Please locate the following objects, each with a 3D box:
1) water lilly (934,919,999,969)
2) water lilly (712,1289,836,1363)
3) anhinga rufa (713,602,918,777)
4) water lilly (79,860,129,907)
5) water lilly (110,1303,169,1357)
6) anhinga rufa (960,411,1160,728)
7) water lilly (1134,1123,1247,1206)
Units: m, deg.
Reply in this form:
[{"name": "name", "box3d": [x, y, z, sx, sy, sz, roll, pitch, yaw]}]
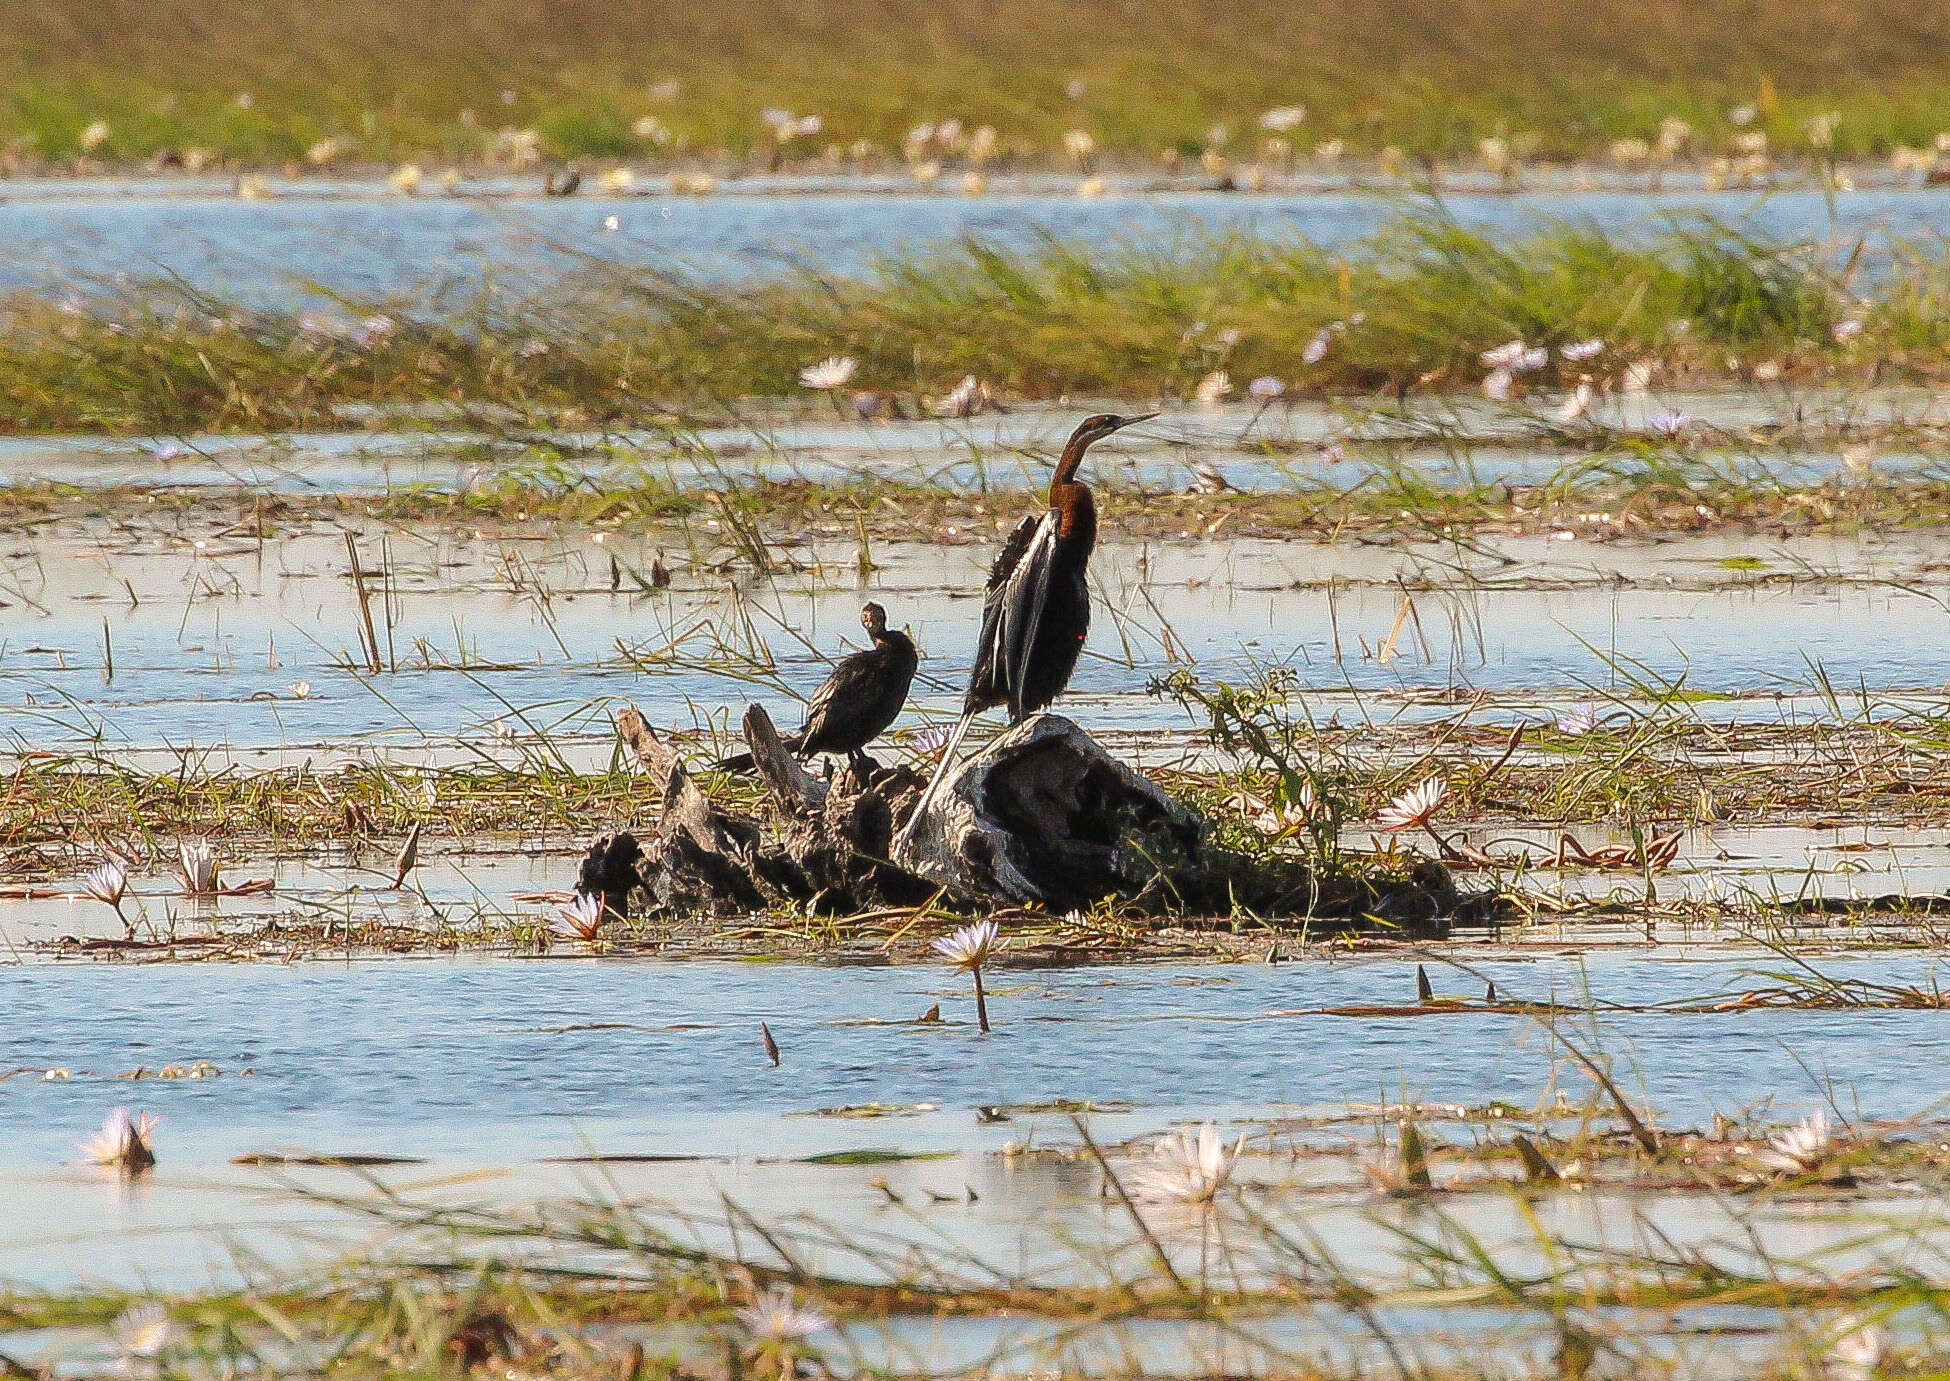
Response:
[{"name": "water lilly", "box3d": [0.000, 0.644, 9.645, 0.178, 0.074, 0.182, -15, 24, 13]}, {"name": "water lilly", "box3d": [-0.445, 1.408, 8.281, 0.201, 0.071, 0.170, -10, 54, 13]}, {"name": "anhinga rufa", "box3d": [-0.375, 0.007, 11.098, 0.309, 0.530, 0.414, 15, 42, 6]}, {"name": "water lilly", "box3d": [-2.503, 0.564, 10.848, 0.126, 0.109, 0.062, -14, 68, -1]}, {"name": "water lilly", "box3d": [-1.818, 1.411, 8.264, 0.113, 0.130, 0.126, 0, 42, -11]}, {"name": "anhinga rufa", "box3d": [0.181, -0.268, 10.892, 0.304, 0.844, 0.692, 11, 41, 0]}, {"name": "water lilly", "box3d": [0.510, 1.114, 8.728, 0.239, 0.122, 0.211, -20, 49, 38]}]
